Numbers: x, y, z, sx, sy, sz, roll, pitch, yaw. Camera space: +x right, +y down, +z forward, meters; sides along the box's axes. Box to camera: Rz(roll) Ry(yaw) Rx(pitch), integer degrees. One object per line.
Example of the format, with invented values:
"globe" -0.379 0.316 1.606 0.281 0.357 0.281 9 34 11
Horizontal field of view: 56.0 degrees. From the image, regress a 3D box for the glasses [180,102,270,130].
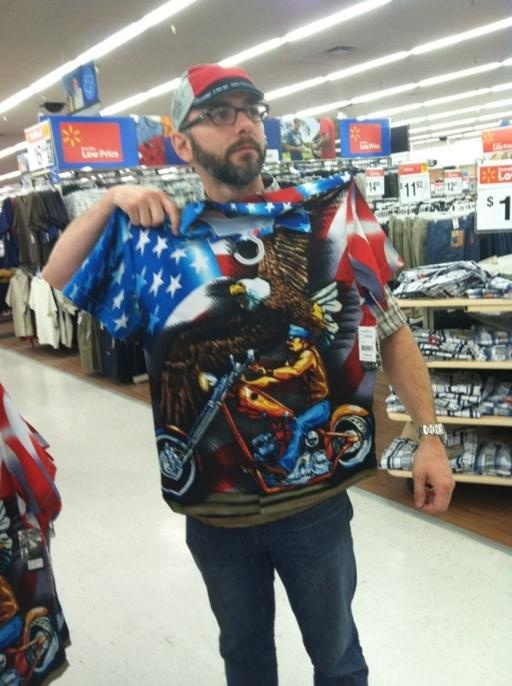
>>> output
"glasses" -0.055 -0.382 0.816 0.148 0.045 0.043 -8 11 -12
